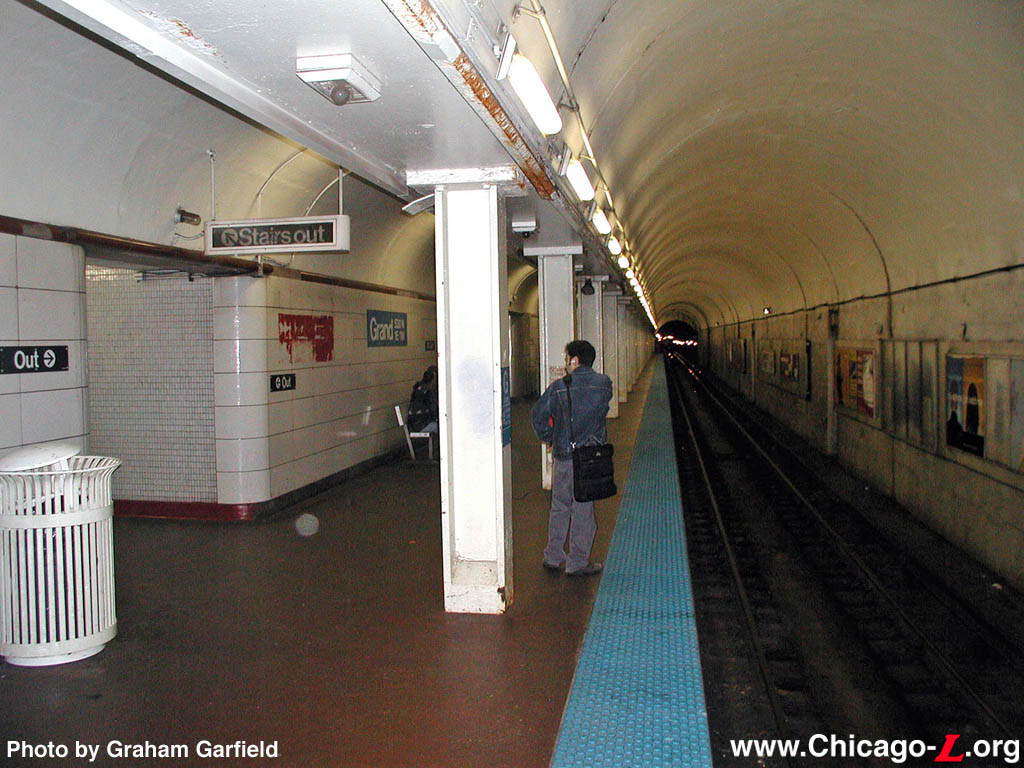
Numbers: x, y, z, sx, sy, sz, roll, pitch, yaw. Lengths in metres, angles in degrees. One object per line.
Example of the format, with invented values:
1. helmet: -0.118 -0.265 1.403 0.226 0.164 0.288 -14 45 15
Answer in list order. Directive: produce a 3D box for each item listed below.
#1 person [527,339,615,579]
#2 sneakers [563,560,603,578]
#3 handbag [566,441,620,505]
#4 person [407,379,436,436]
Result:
1. person: 0.631 0.755 6.889 0.861 2.374 0.576 4 4 22
2. sneakers: 0.701 1.842 6.925 0.390 0.205 0.143 -2 0 -6
3. handbag: 0.777 0.860 6.684 0.416 0.584 0.277 3 4 6
4. person: -1.678 0.408 12.590 0.505 0.942 0.566 2 4 -10
